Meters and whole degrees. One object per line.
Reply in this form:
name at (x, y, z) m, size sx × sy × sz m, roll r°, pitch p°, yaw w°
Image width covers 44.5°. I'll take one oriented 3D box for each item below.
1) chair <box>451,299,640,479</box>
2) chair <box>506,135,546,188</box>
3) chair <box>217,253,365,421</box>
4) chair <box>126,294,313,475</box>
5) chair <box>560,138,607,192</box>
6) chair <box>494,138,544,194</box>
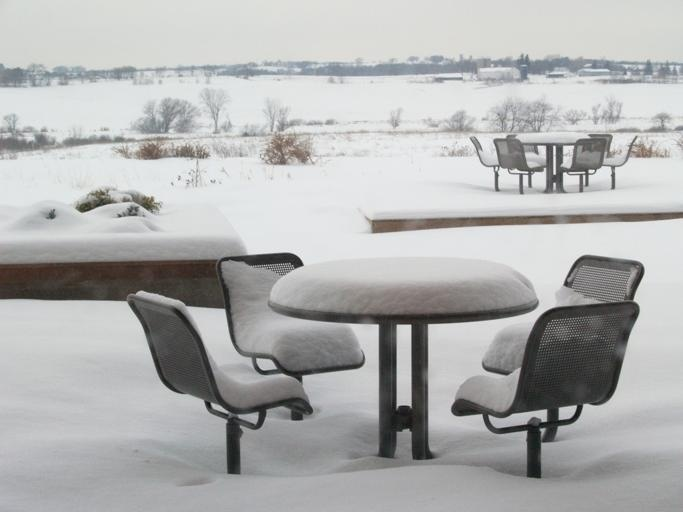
chair at (1.025, 0.767, 4.414) m, size 0.794 × 1.064 × 0.850 m, roll -1°, pitch 5°, yaw -15°
chair at (2.180, -1.095, 9.782) m, size 0.495 × 0.671 × 0.511 m, roll -4°, pitch 16°, yaw 20°
chair at (-0.304, 0.506, 5.158) m, size 0.680 × 1.008 × 0.719 m, roll -5°, pitch 5°, yaw -41°
chair at (-0.642, 0.776, 4.511) m, size 0.826 × 1.179 × 0.662 m, roll -6°, pitch 9°, yaw -42°
chair at (2.771, -1.063, 9.682) m, size 0.378 × 0.584 × 0.428 m, roll 1°, pitch 6°, yaw -7°
chair at (2.087, -1.089, 9.768) m, size 0.405 × 0.538 × 0.383 m, roll 15°, pitch 16°, yaw -3°
